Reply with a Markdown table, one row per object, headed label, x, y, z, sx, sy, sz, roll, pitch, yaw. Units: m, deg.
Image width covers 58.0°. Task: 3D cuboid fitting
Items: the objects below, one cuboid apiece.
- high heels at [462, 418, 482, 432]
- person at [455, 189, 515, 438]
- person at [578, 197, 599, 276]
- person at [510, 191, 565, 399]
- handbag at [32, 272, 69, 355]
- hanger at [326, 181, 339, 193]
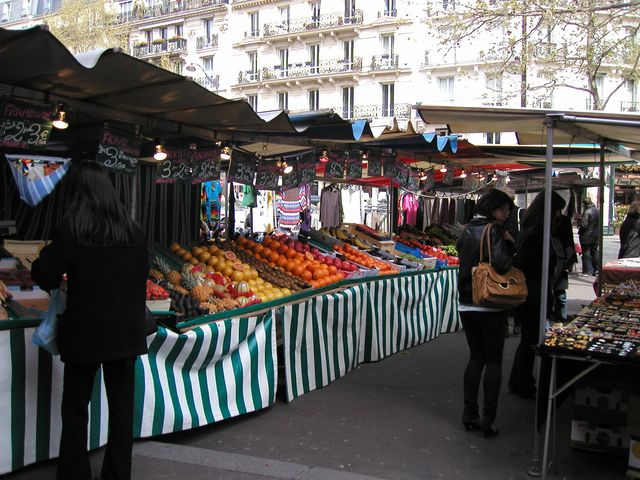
| label | x | y | z | sx | sy | sz | roll | pitch | yaw |
| --- | --- | --- | --- | --- | --- | --- | --- | --- | --- |
| high heels | 1.459 | 1.752 | 5.513 | 0.229 | 0.116 | 0.075 | -4 | 5 | -44 |
| person | 1.599 | 0.661 | 5.477 | 0.499 | 2.358 | 0.655 | -2 | 3 | -8 |
| person | 7.362 | -0.112 | 15.904 | 0.660 | 1.961 | 0.543 | -6 | 8 | -29 |
| person | 2.362 | 0.458 | 6.309 | 0.724 | 2.627 | 0.782 | 1 | 2 | 30 |
| handbag | -1.923 | 0.558 | 4.153 | 0.226 | 0.637 | 0.245 | 1 | 9 | -32 |
| hanger | 0.266 | -1.104 | 12.147 | 0.150 | 0.191 | 0.257 | 5 | 8 | 29 |
